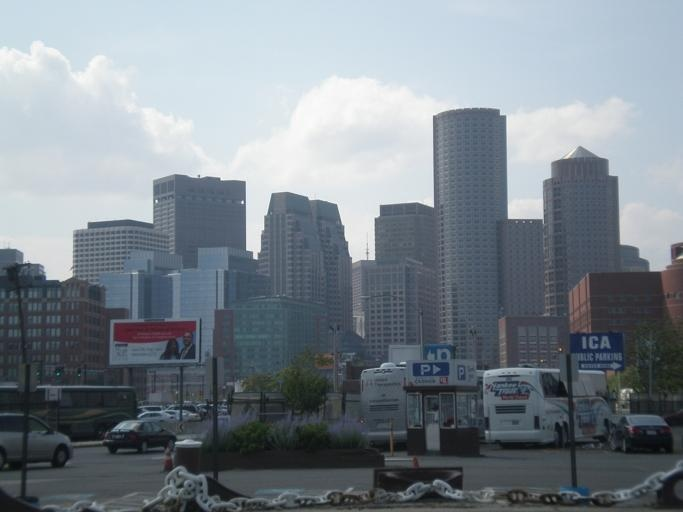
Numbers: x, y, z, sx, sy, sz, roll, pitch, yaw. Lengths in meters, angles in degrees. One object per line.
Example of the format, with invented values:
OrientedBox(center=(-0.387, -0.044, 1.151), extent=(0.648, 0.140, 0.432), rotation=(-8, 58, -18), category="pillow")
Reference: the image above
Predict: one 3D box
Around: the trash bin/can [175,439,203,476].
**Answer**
OrientedBox(center=(-9.581, 12.716, 89.720), extent=(1.420, 2.147, 1.177), rotation=(2, -9, -19), category="trash bin/can")

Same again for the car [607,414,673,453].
OrientedBox(center=(21.829, 12.970, 104.122), extent=(3.285, 2.648, 7.882), rotation=(-1, -5, 1), category="car")

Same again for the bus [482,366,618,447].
OrientedBox(center=(16.625, 11.695, 110.276), extent=(4.580, 6.004, 14.831), rotation=(-5, -6, 32), category="bus")

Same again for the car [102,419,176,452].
OrientedBox(center=(-15.135, 13.722, 107.362), extent=(4.833, 2.507, 2.352), rotation=(0, -9, -8), category="car")
